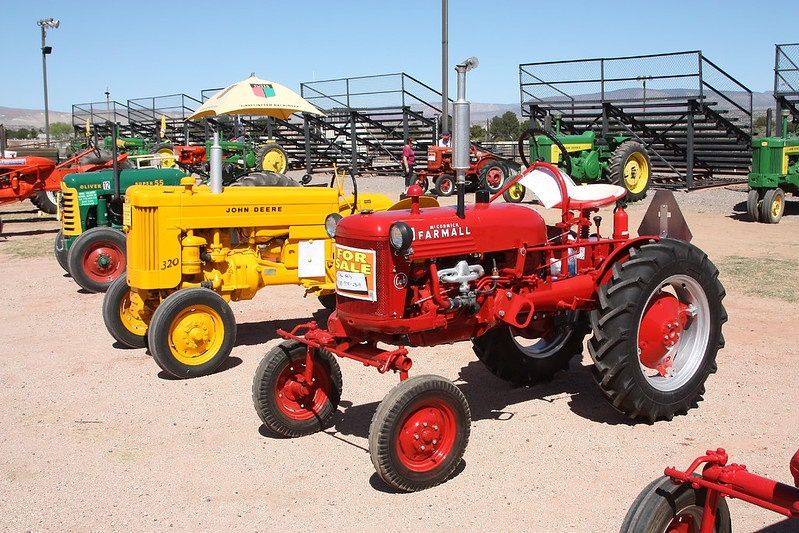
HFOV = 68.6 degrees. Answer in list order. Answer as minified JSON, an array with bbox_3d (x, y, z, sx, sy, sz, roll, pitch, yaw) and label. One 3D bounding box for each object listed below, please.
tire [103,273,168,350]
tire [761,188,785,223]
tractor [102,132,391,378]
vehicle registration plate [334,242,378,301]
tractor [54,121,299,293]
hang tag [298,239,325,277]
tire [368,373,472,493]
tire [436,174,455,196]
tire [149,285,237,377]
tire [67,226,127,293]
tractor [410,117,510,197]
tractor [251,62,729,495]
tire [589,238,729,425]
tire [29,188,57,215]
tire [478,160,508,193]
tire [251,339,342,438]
[{"bbox_3d":[-3.006,0.503,6.733,0.843,0.883,0.285,-2,5,-22],"label":"tire"},{"bbox_3d":[9.199,-1.534,14.497,0.742,0.818,0.337,-12,15,-42],"label":"tire"},{"bbox_3d":[-1.614,-0.278,7.736,3.839,2.327,1.859,-7,18,-43],"label":"tractor"},{"bbox_3d":[-0.325,0.031,4.587,0.064,0.336,0.424,-5,8,-38],"label":"vehicle registration plate"},{"bbox_3d":[-4.136,-1.171,11.717,4.513,2.161,2.964,-4,21,-23],"label":"tractor"},{"bbox_3d":[-1.101,-0.105,7.269,0.418,0.566,0.069,3,-13,-17],"label":"hang tag"},{"bbox_3d":[0.160,1.264,4.334,0.678,0.722,0.198,17,-1,-38],"label":"tire"},{"bbox_3d":[1.459,-2.684,18.970,0.204,0.608,0.591,11,21,41],"label":"tire"},{"bbox_3d":[-2.203,0.693,6.325,0.917,1.054,0.315,-5,15,-35],"label":"tire"},{"bbox_3d":[-4.818,-0.095,9.390,1.042,1.155,0.384,1,4,-26],"label":"tire"},{"bbox_3d":[2.130,-3.230,18.990,3.467,1.886,1.933,-6,12,-39],"label":"tractor"},{"bbox_3d":[1.071,0.094,5.485,4.116,2.861,2.273,-4,3,-33],"label":"tractor"},{"bbox_3d":[2.258,0.581,5.180,1.391,1.493,0.451,10,-1,-34],"label":"tire"},{"bbox_3d":[-10.484,-1.954,17.311,0.670,0.693,0.201,17,-5,-30],"label":"tire"},{"bbox_3d":[3.093,-2.734,18.232,0.381,1.047,1.009,8,-7,-43],"label":"tire"},{"bbox_3d":[-0.857,1.059,5.014,0.799,0.859,0.245,3,5,-33],"label":"tire"}]
